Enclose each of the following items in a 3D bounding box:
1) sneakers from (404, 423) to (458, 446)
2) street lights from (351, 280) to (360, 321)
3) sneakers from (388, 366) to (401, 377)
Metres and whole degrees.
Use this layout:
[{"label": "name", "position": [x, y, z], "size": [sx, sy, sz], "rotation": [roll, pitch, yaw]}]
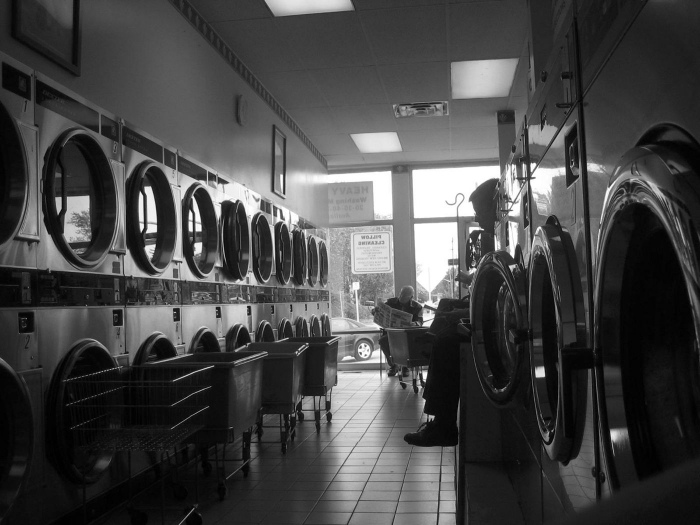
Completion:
[{"label": "sneakers", "position": [0.506, 1.044, 3.255], "size": [0.347, 0.195, 0.142], "rotation": [1, -13, -2]}, {"label": "street lights", "position": [0.097, 0.718, 10.487], "size": [0.173, 0.745, 0.091], "rotation": [-1, -4, 4]}, {"label": "sneakers", "position": [0.708, 1.769, 8.776], "size": [0.250, 0.228, 0.283], "rotation": [0, -2, 3]}]
